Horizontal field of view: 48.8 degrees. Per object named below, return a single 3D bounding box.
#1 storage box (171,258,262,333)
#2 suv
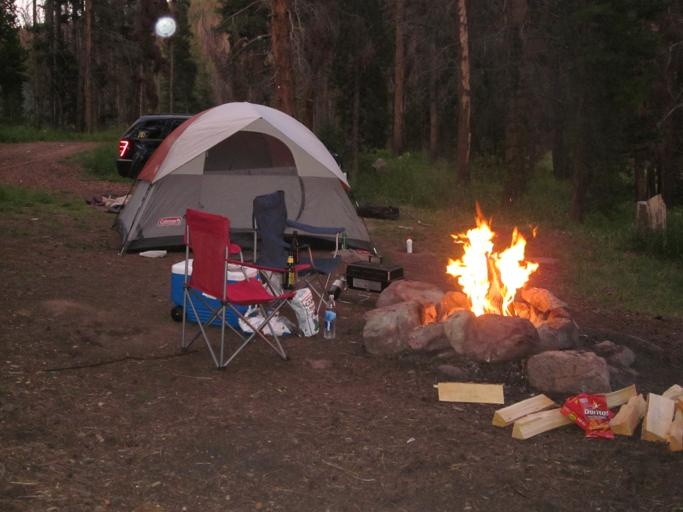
[{"bbox_3d":[-1.940,0.746,10.275,1.146,0.762,1.216,14,-31,-35],"label":"storage box"},{"bbox_3d":[-4.581,-2.395,17.513,2.289,1.326,1.449,-9,18,-18],"label":"suv"}]
